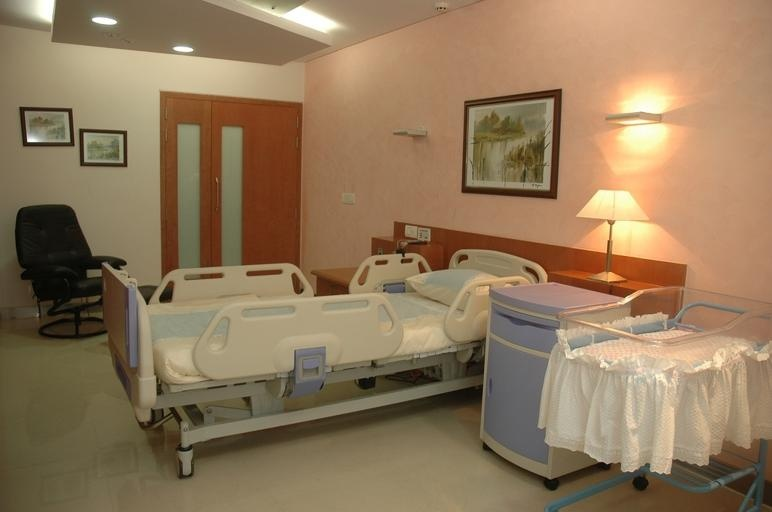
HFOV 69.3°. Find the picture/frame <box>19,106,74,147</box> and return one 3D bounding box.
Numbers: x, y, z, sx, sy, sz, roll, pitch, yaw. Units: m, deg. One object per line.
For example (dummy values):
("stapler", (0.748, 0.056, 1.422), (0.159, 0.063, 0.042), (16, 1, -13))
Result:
("picture/frame", (-3.570, -1.356, 5.813), (0.431, 0.380, 0.031), (-5, 7, -32))

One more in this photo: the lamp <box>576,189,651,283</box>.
("lamp", (1.581, -0.146, 3.866), (0.386, 0.613, 0.349), (-8, 12, -35))

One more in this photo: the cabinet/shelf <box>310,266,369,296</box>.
("cabinet/shelf", (-0.421, 0.226, 5.099), (0.293, 0.186, 0.295), (-5, 11, -33))

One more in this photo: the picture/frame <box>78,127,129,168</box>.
("picture/frame", (-3.107, -1.189, 6.076), (0.453, 0.400, 0.033), (-3, 5, -33))

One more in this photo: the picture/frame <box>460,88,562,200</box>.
("picture/frame", (1.050, -0.917, 4.552), (0.043, 0.814, 0.927), (-5, 10, -42))

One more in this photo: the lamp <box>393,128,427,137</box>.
("lamp", (0.193, -1.192, 5.433), (0.212, 0.102, 0.445), (-6, 10, -29))

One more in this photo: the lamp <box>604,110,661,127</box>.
("lamp", (1.678, -0.924, 3.784), (0.341, 0.079, 0.270), (5, 11, 33))

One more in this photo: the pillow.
("pillow", (0.436, 0.208, 4.266), (0.369, 0.121, 0.401), (-15, 16, -24))
